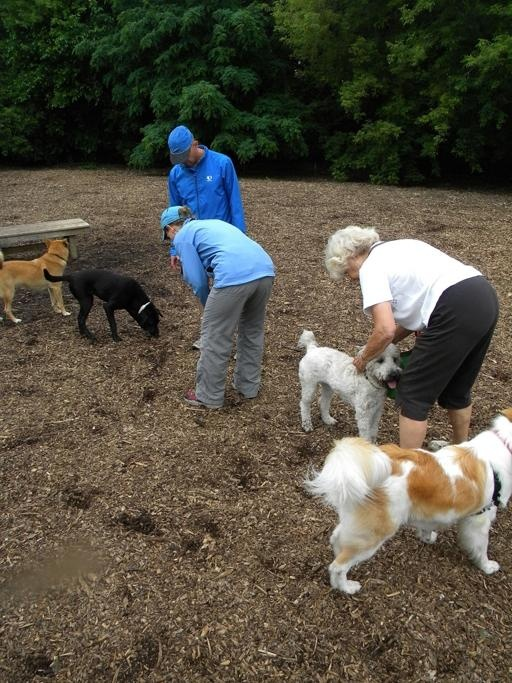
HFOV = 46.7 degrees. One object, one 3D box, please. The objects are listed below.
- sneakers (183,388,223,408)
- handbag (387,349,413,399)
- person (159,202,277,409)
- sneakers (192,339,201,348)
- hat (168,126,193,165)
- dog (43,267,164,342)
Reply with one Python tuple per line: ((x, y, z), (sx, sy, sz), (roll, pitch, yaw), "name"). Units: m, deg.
((-0.393, 0.431, 4.437), (0.273, 0.114, 0.114), (18, 16, 12), "sneakers")
((0.793, 0.178, 3.280), (0.068, 0.267, 0.152), (17, 2, -19), "handbag")
((-0.244, -0.219, 4.320), (0.714, 1.408, 0.619), (-1, 28, 0), "person")
((-0.551, 0.015, 5.393), (0.045, 0.053, 0.123), (9, 18, -13), "sneakers")
((-0.596, -1.553, 4.696), (0.188, 0.287, 0.191), (-4, 27, -6), "hat")
((-1.431, -0.369, 5.748), (0.969, 0.637, 0.520), (0, 27, 1), "dog")
